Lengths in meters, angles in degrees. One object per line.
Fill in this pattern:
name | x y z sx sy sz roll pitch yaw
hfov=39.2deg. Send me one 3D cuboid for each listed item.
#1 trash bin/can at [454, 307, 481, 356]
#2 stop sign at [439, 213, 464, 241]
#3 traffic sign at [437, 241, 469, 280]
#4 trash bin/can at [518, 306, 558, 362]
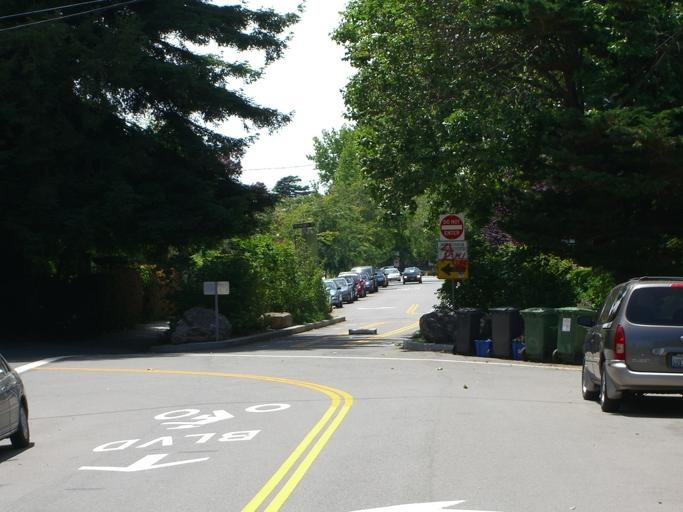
trash bin/can | 3.381 2.045 25.685 0.757 1.257 0.639 -3 -3 14
stop sign | 3.115 -0.830 27.142 0.926 0.917 0.135 1 2 5
traffic sign | 3.096 0.115 26.819 1.114 1.220 0.171 1 -1 -4
trash bin/can | 4.976 1.981 23.998 0.923 1.248 1.002 -1 -2 41
